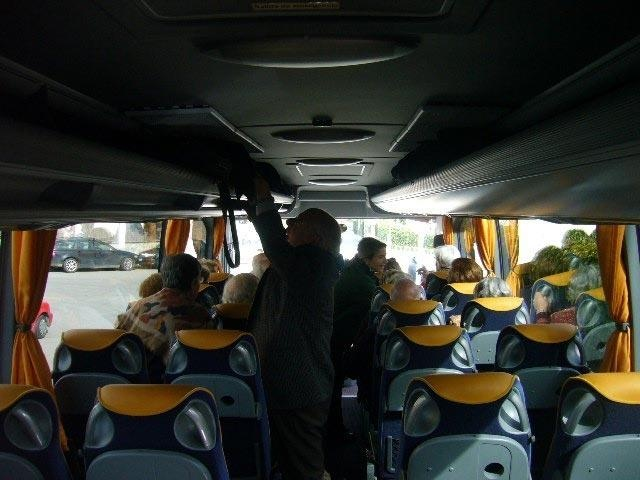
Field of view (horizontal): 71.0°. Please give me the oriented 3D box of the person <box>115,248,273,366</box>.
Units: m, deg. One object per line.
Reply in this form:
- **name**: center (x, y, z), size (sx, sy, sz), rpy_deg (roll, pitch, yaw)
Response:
- **person**: center (-0.920, 0.464, 3.313), size (1.135, 1.140, 0.625), rpy_deg (4, 4, 11)
